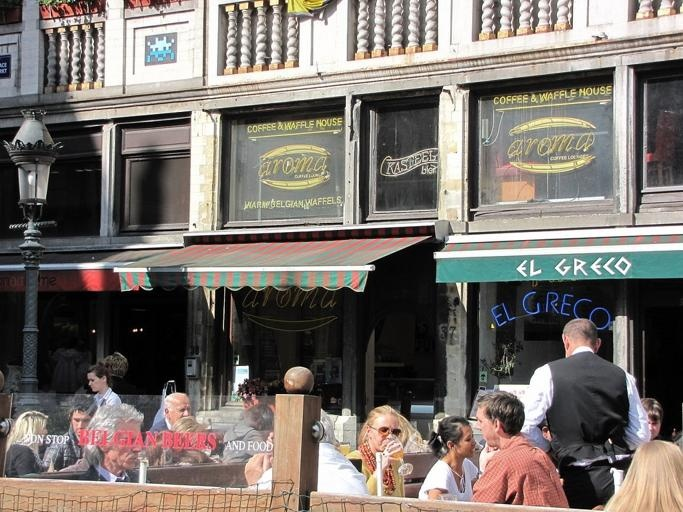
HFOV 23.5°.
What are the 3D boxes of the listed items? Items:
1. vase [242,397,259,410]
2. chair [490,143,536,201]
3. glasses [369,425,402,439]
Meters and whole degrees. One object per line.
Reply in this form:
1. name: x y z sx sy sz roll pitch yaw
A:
1. vase: -0.999 1.578 17.607 0.144 0.136 0.061 -6 -15 34
2. chair: 2.519 -1.160 24.287 0.647 0.935 0.703 -1 -2 14
3. glasses: 0.465 2.005 18.688 0.198 0.060 0.199 10 -20 -23
